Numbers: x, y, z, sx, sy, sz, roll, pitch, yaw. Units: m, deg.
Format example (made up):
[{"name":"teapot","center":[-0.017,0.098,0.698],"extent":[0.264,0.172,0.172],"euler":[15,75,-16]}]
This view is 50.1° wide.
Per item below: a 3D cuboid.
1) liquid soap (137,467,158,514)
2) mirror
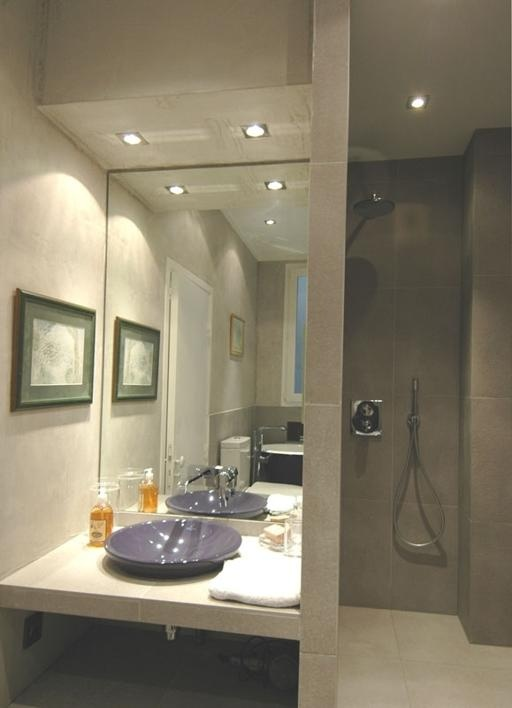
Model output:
[{"name":"liquid soap","center":[-0.365,0.462,1.851],"extent":[0.068,0.136,0.052],"euler":[-2,5,2]},{"name":"mirror","center":[-0.168,-0.026,1.821],"extent":[0.957,1.574,0.071],"euler":[0,-1,-6]}]
